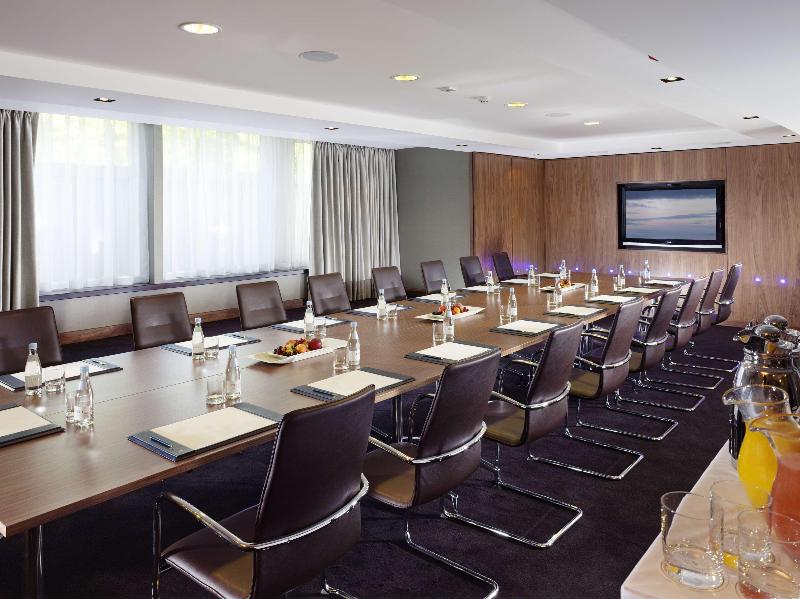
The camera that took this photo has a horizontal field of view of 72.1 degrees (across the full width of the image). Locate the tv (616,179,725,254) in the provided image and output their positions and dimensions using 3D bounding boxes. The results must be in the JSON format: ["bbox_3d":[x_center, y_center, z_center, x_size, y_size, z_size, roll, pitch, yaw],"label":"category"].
[{"bbox_3d":[4.321,-1.320,8.628,1.398,0.880,0.138,4,7,38],"label":"tv"}]

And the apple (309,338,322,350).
[{"bbox_3d":[-0.539,0.277,3.482,0.061,0.062,0.068,0,-5,1],"label":"apple"}]

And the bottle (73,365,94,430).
[{"bbox_3d":[-1.380,0.406,2.376,0.080,0.247,0.191,-8,14,-31],"label":"bottle"}]

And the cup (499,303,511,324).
[{"bbox_3d":[0.828,0.113,4.448,0.158,0.156,0.161,0,-1,0],"label":"cup"}]

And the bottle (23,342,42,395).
[{"bbox_3d":[-1.825,0.329,2.714,0.081,0.271,0.206,-10,15,-35],"label":"bottle"}]

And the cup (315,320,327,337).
[{"bbox_3d":[-0.564,0.203,3.938,0.108,0.105,0.101,-1,-4,0],"label":"cup"}]

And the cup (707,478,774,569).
[{"bbox_3d":[0.836,0.538,1.418,0.195,0.203,0.214,-1,0,0],"label":"cup"}]
